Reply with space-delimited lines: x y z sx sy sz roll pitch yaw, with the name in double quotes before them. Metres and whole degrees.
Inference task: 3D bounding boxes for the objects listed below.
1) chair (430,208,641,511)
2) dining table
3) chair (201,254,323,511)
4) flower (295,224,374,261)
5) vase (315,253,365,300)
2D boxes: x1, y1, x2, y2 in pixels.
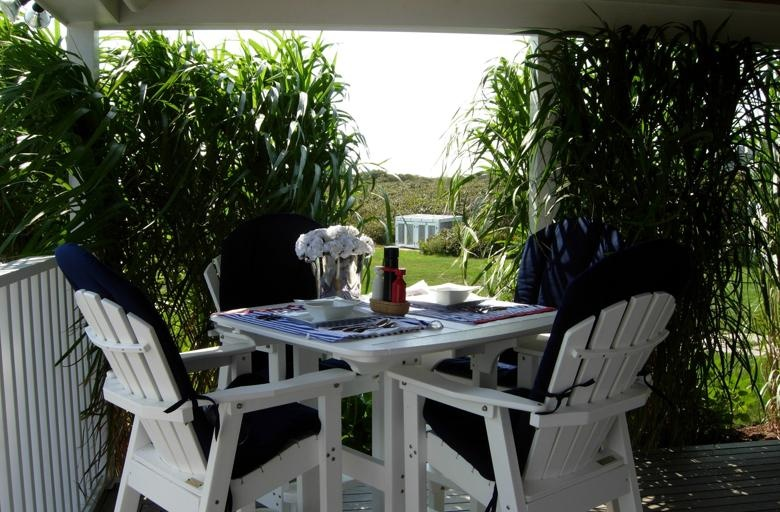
"chair" 0.759 0.232 3.486 0.971 1.213 0.781 4 1 -35
"dining table" 0.104 0.453 2.606 1.075 0.764 1.046 -7 9 -40
"chair" -0.595 0.565 3.405 0.949 1.524 0.975 -2 4 -23
"flower" -0.257 -0.064 2.817 0.218 0.117 0.234 2 2 44
"vase" -0.243 0.092 2.825 0.188 0.239 0.189 1 4 11
